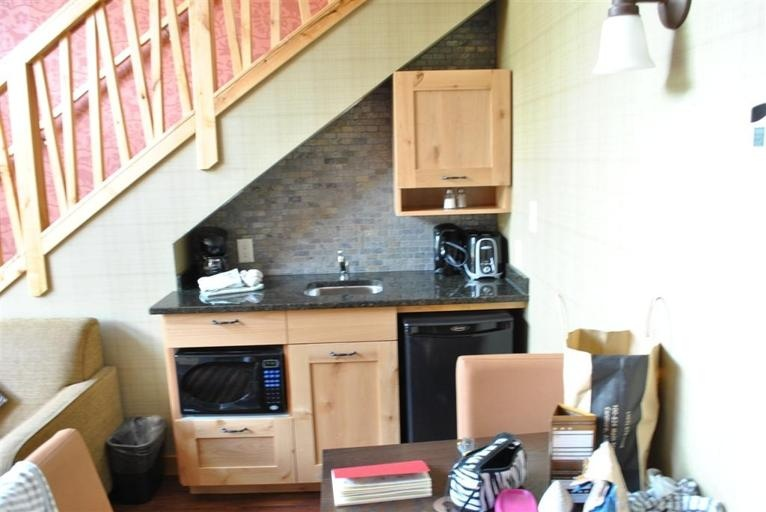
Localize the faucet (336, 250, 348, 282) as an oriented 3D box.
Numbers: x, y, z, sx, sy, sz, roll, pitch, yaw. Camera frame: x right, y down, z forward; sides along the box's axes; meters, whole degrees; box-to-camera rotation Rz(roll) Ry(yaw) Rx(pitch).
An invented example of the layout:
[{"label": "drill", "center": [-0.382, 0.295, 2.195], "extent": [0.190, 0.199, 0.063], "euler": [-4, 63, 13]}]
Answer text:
[{"label": "faucet", "center": [-0.248, 0.054, 3.975], "extent": [0.067, 0.192, 0.126], "euler": [-3, 3, -3]}]

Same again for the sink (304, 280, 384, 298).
[{"label": "sink", "center": [-0.248, 0.189, 3.827], "extent": [0.469, 0.082, 0.217], "euler": [-2, 2, -14]}]

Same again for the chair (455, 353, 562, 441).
[{"label": "chair", "center": [0.489, 0.546, 2.493], "extent": [0.469, 0.327, 0.214], "euler": [0, 2, -1]}]

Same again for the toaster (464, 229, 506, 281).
[{"label": "toaster", "center": [0.595, -0.018, 3.910], "extent": [0.254, 0.254, 0.337], "euler": [-2, 14, 2]}]

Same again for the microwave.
[{"label": "microwave", "center": [-0.814, 0.680, 3.442], "extent": [0.731, 0.331, 0.374], "euler": [-1, 5, -2]}]

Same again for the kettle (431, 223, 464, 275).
[{"label": "kettle", "center": [0.401, -0.050, 3.927], "extent": [0.194, 0.313, 0.177], "euler": [-2, 3, 4]}]

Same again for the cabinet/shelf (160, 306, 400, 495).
[{"label": "cabinet/shelf", "center": [-0.522, 0.701, 3.342], "extent": [1.414, 0.832, 0.458], "euler": [0, 8, -1]}]

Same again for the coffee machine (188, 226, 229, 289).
[{"label": "coffee machine", "center": [-1.033, -0.012, 3.854], "extent": [0.238, 0.351, 0.233], "euler": [-3, 3, -11]}]

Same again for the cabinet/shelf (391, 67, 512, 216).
[{"label": "cabinet/shelf", "center": [0.392, -0.642, 3.651], "extent": [0.656, 0.790, 0.191], "euler": [-3, 3, -4]}]
